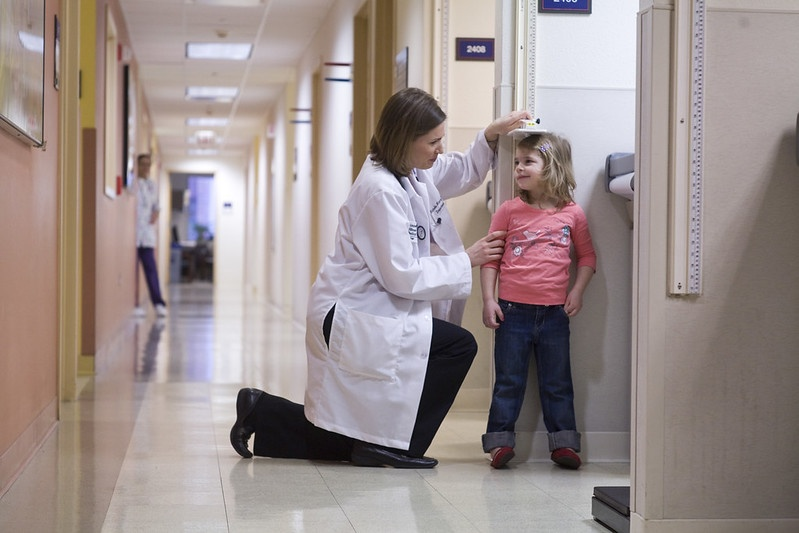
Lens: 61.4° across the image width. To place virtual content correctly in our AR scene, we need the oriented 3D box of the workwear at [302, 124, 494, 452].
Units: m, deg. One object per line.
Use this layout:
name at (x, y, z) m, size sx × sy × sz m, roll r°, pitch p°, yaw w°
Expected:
workwear at (-0.054, 0.146, 2.777) m, size 0.669 × 1.227 × 0.309 m, roll 0°, pitch 4°, yaw -9°

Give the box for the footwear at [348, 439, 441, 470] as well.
footwear at (-0.027, 0.783, 2.857) m, size 0.386 × 0.162 × 0.123 m, roll -1°, pitch -3°, yaw -6°

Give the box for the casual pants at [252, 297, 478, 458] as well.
casual pants at (-0.136, 0.524, 2.806) m, size 0.740 × 0.246 × 0.743 m, roll 14°, pitch 2°, yaw 42°

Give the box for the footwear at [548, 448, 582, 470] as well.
footwear at (0.696, 0.811, 2.834) m, size 0.066 × 0.065 × 0.152 m, roll 18°, pitch -20°, yaw -13°

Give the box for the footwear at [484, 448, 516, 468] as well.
footwear at (0.434, 0.793, 2.786) m, size 0.061 × 0.057 × 0.126 m, roll -4°, pitch -28°, yaw -9°

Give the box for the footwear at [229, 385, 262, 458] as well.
footwear at (-0.659, 0.656, 2.945) m, size 0.137 × 0.320 × 0.118 m, roll 2°, pitch 2°, yaw 17°
